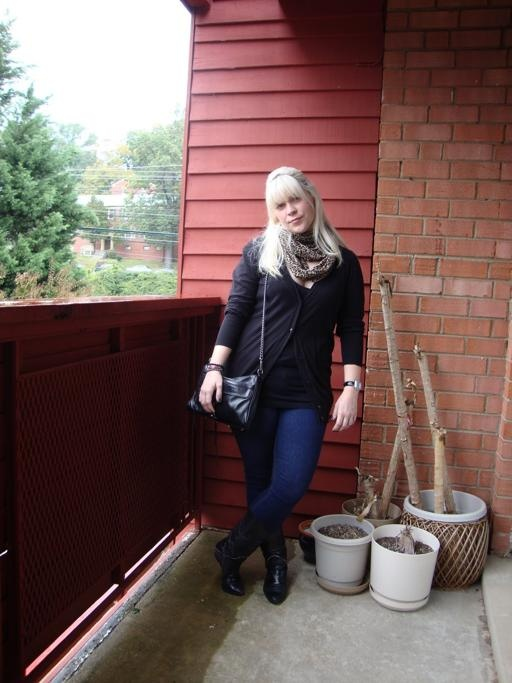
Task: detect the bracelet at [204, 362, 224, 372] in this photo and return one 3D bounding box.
[{"bbox_3d":[-0.154,0.085,1.807,0.040,0.019,0.034,-3,-10,10],"label":"bracelet"}]

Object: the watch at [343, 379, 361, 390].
[{"bbox_3d":[0.318,0.141,1.793,0.052,0.033,0.057,2,3,6],"label":"watch"}]

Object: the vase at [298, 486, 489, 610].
[{"bbox_3d":[0.622,0.789,2.120,0.521,0.217,0.410,-1,-8,7],"label":"vase"}]

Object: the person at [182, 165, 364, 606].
[{"bbox_3d":[0.077,0.175,1.816,0.535,1.507,0.261,2,4,8],"label":"person"}]
